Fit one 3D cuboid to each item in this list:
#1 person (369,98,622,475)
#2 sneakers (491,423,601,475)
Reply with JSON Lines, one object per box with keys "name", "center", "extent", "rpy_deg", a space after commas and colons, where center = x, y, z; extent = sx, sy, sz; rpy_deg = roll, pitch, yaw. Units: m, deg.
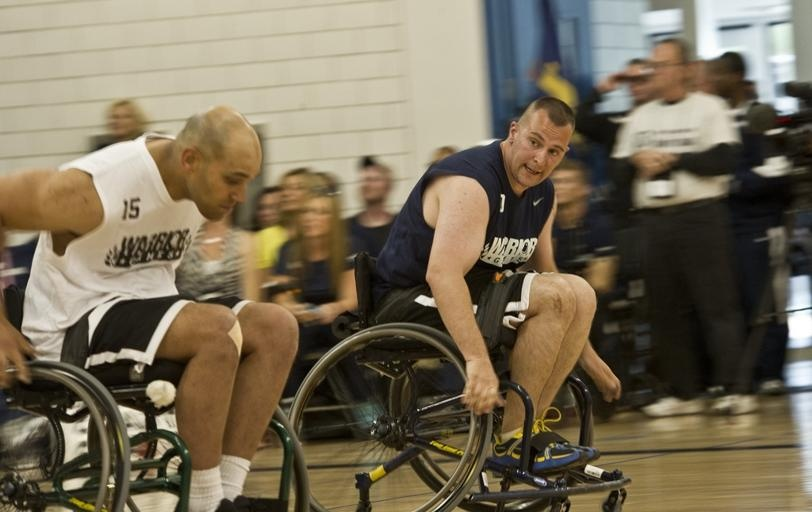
{"name": "person", "center": [0.547, 0.143, 7.362], "extent": [1.152, 2.009, 1.362], "rpy_deg": [2, 1, -42]}
{"name": "sneakers", "center": [0.736, 1.007, 6.940], "extent": [0.498, 0.241, 0.270], "rpy_deg": [-1, -6, 17]}
